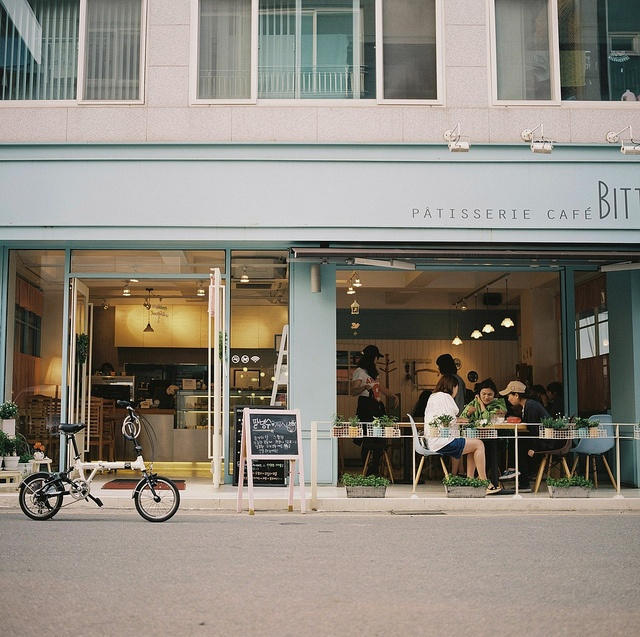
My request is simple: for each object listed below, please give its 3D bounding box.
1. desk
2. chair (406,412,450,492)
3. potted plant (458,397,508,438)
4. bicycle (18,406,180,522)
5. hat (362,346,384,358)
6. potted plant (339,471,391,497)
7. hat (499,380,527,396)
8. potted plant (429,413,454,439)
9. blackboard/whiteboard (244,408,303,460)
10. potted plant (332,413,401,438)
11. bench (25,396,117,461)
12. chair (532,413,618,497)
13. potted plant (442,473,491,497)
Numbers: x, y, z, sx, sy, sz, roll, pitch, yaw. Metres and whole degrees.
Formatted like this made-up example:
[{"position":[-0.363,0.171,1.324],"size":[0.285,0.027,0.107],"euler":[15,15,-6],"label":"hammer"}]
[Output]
[{"position":[2.607,1.816,13.150],"size":[0.711,1.078,0.651],"euler":[1,-4,9],"label":"desk"},{"position":[1.438,1.777,13.253],"size":[0.571,1.281,0.645],"euler":[5,-5,-11],"label":"chair"},{"position":[2.177,1.314,13.151],"size":[0.534,0.641,0.375],"euler":[2,-8,-19],"label":"potted plant"},{"position":[-2.578,1.722,11.392],"size":[1.861,1.404,0.592],"euler":[0,-4,-7],"label":"bicycle"},{"position":[0.862,0.521,15.669],"size":[0.328,0.172,0.232],"euler":[3,-1,-35],"label":"hat"},{"position":[0.587,2.124,12.425],"size":[0.537,0.263,0.191],"euler":[0,-9,-12],"label":"potted plant"},{"position":[2.819,0.997,14.273],"size":[0.398,0.241,0.268],"euler":[3,-6,10],"label":"hat"},{"position":[1.608,1.404,12.796],"size":[0.283,0.254,0.288],"euler":[-4,-6,36],"label":"potted plant"},{"position":[-0.536,1.360,11.537],"size":[0.587,0.568,0.294],"euler":[-1,-9,-1],"label":"blackboard/whiteboard"},{"position":[0.618,1.456,13.115],"size":[0.880,0.238,0.663],"euler":[-2,-9,0],"label":"potted plant"},{"position":[-3.844,1.639,15.122],"size":[1.271,1.044,0.533],"euler":[1,-7,-6],"label":"bench"},{"position":[3.629,1.804,13.517],"size":[0.885,1.481,0.926],"euler":[4,-9,-24],"label":"chair"},{"position":[1.874,2.123,12.467],"size":[0.540,0.277,0.249],"euler":[-2,-9,5],"label":"potted plant"}]
